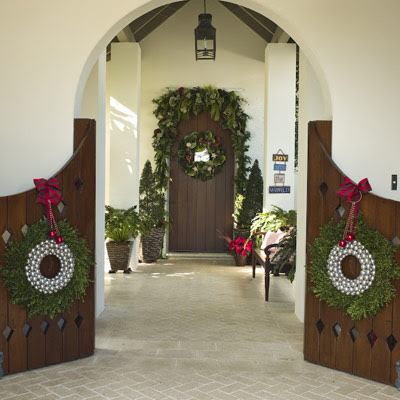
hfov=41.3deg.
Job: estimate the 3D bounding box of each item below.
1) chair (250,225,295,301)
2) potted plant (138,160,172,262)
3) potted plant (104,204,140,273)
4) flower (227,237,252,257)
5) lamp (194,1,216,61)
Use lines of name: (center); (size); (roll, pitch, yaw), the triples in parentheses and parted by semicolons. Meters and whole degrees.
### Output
chair: (0.970, 0.831, 6.624); (0.316, 0.798, 1.274); (4, -7, 7)
potted plant: (-0.766, 0.182, 8.719); (0.472, 1.697, 1.075); (1, -3, -5)
potted plant: (-1.125, 0.565, 7.753); (0.513, 0.992, 0.585); (2, -3, -11)
flower: (0.677, 0.749, 8.453); (0.452, 0.325, 0.400); (0, -3, 35)
lamp: (0.065, -2.041, 6.504); (0.244, 0.606, 0.560); (1, -3, 0)
